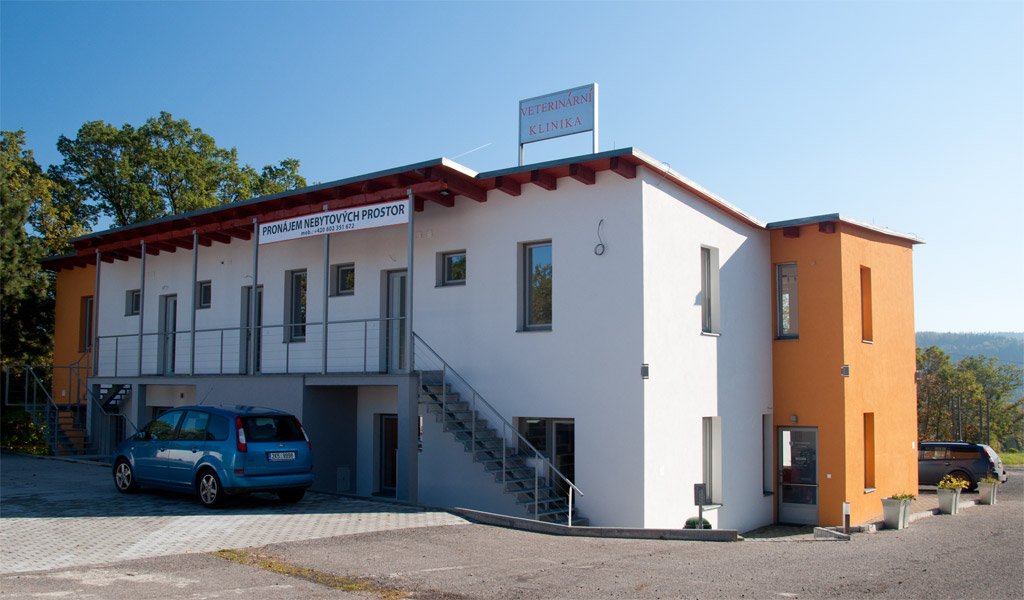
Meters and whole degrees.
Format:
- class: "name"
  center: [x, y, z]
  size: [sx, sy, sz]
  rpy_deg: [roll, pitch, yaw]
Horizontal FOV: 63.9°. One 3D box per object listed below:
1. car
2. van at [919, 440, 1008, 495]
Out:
- class: "car"
  center: [-7.627, 3.943, 20.722]
  size: [4.624, 2.467, 1.175]
  rpy_deg: [-5, -12, 19]
- class: "van"
  center: [17.180, 6.304, 31.829]
  size: [3.414, 1.542, 1.933]
  rpy_deg: [1, -3, 22]
